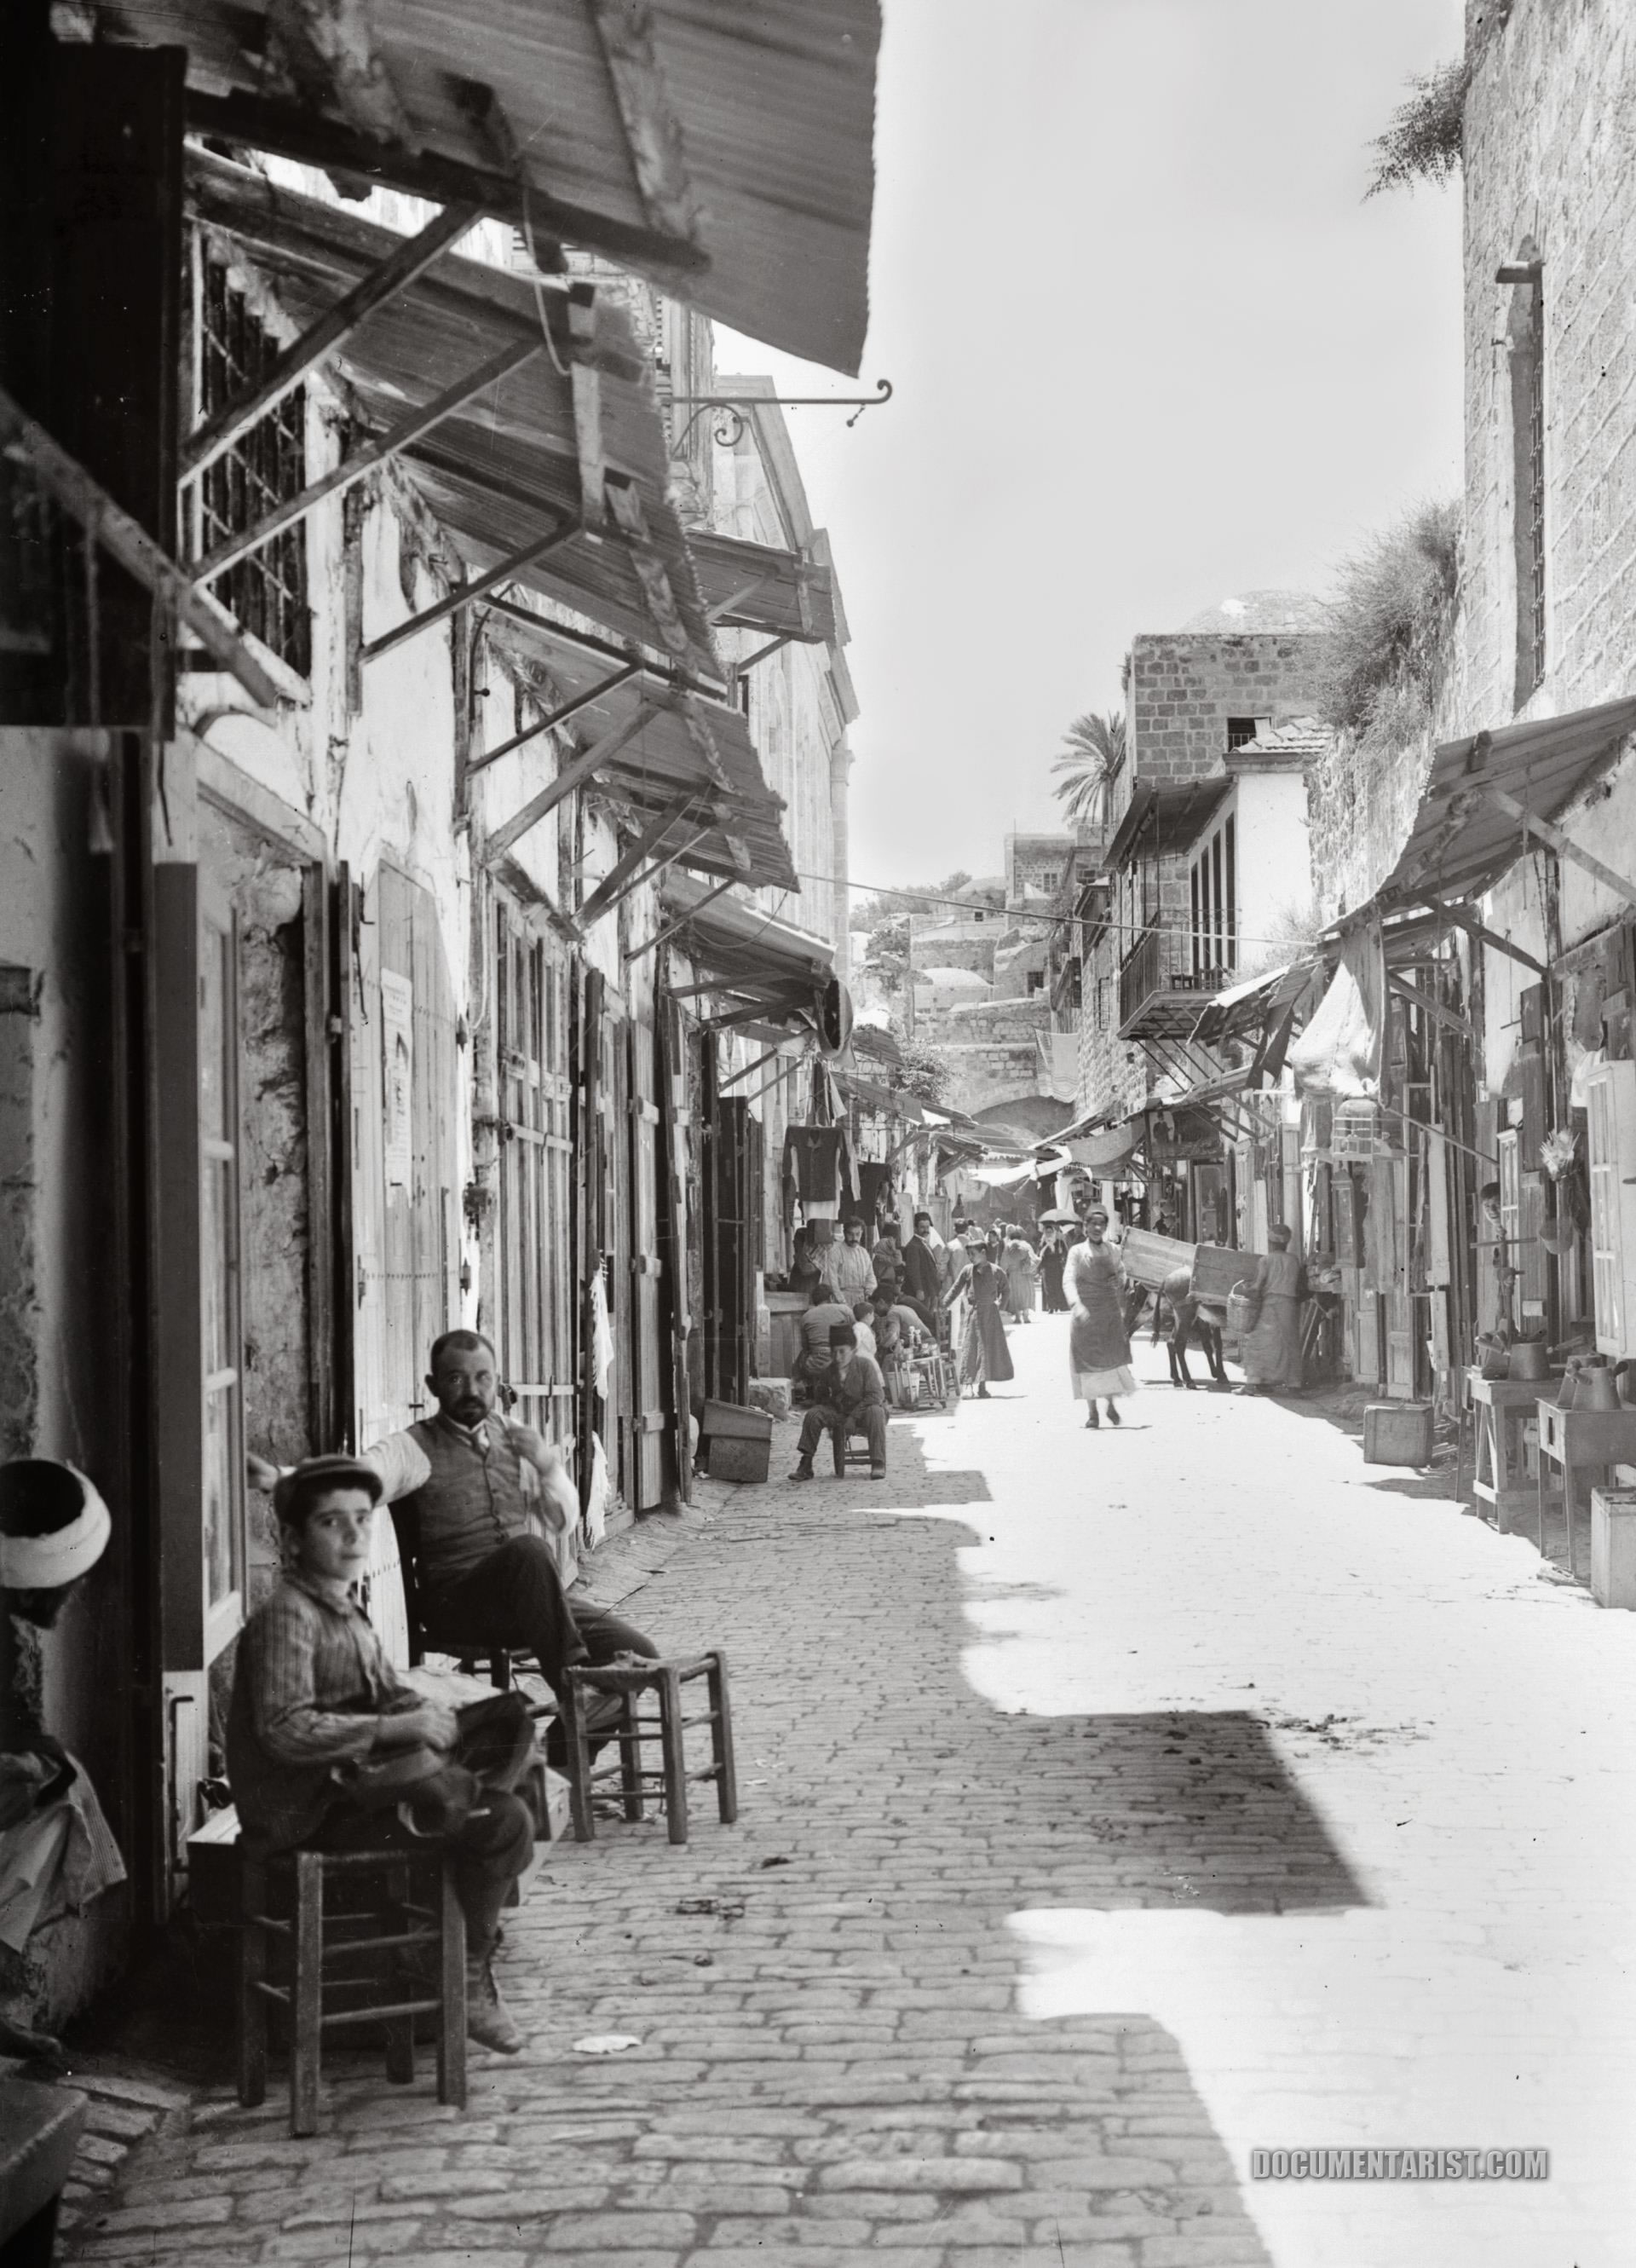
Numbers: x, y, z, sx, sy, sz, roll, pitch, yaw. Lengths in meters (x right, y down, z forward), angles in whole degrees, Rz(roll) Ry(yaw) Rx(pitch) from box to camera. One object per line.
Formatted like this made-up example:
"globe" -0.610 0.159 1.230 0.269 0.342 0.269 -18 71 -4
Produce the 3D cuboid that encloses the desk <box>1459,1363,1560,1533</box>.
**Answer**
"desk" 3.122 1.415 12.636 0.287 0.787 0.516 0 4 0

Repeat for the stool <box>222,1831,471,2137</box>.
"stool" -0.760 1.400 4.640 0.234 0.486 0.272 -1 -3 -29

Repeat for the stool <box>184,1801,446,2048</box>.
"stool" -0.789 1.395 4.677 0.264 0.460 0.288 1 -1 44

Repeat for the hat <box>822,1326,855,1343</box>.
"hat" 0.121 1.216 16.628 0.135 0.123 0.139 -2 -5 -2

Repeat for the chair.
"chair" -0.789 1.104 6.435 0.338 0.758 0.360 -7 -9 29

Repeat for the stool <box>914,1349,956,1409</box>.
"stool" 0.937 2.059 22.964 0.318 0.812 0.373 1 4 16

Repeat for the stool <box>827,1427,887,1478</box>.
"stool" 0.216 1.984 17.077 0.244 0.456 0.307 3 -17 -16

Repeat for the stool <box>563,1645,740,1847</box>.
"stool" -0.372 1.504 6.829 0.215 0.411 0.286 0 1 17

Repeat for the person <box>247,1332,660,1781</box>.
"person" -0.789 0.970 6.499 0.474 1.149 0.591 -13 -18 6
